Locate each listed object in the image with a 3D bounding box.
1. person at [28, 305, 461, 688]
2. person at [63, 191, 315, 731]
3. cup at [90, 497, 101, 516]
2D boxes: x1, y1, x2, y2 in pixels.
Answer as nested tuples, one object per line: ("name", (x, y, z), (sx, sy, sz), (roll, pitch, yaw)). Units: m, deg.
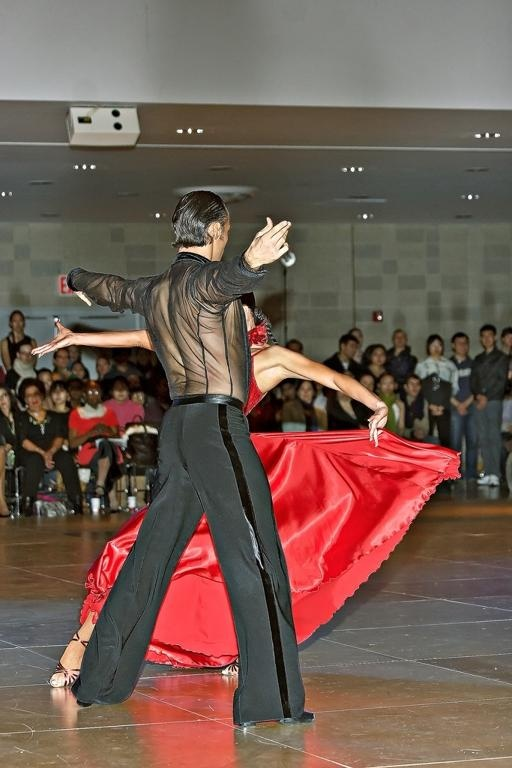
("person", (0.005, 0.271, 2.655), (1.684, 1.250, 0.734), (-8, 5, -10))
("person", (-0.142, 0.203, 1.738), (0.309, 1.376, 0.880), (-2, 3, -41))
("cup", (-2.125, 1.626, 9.338), (0.208, 0.285, 0.199), (0, -3, 0))
